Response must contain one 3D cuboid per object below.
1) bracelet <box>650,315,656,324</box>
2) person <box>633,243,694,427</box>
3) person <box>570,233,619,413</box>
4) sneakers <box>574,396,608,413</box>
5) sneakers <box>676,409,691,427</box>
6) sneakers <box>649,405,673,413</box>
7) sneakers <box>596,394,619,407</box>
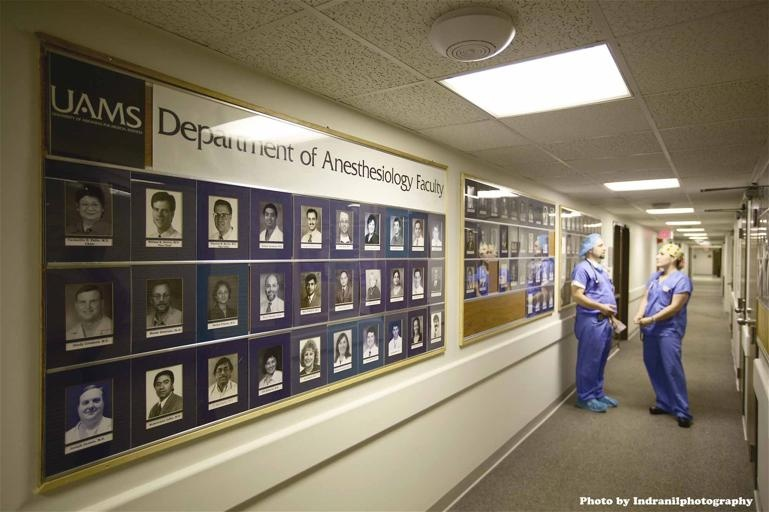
[{"bbox_3d":[2.916,0.699,5.386,0.018,0.062,0.062,17,5,8],"label":"bracelet"},{"bbox_3d":[3.183,0.838,5.539,0.645,1.854,0.898,7,11,29],"label":"person"},{"bbox_3d":[2.511,0.800,5.870,0.587,1.964,0.780,5,11,22],"label":"person"},{"bbox_3d":[2.428,1.735,5.773,0.271,0.125,0.132,-9,-7,43],"label":"sneakers"},{"bbox_3d":[3.195,1.733,5.261,0.079,0.087,0.205,1,9,28],"label":"sneakers"},{"bbox_3d":[3.110,1.725,5.548,0.205,0.092,0.077,6,-1,16],"label":"sneakers"},{"bbox_3d":[2.637,1.712,5.806,0.128,0.073,0.177,7,-4,-30],"label":"sneakers"}]
